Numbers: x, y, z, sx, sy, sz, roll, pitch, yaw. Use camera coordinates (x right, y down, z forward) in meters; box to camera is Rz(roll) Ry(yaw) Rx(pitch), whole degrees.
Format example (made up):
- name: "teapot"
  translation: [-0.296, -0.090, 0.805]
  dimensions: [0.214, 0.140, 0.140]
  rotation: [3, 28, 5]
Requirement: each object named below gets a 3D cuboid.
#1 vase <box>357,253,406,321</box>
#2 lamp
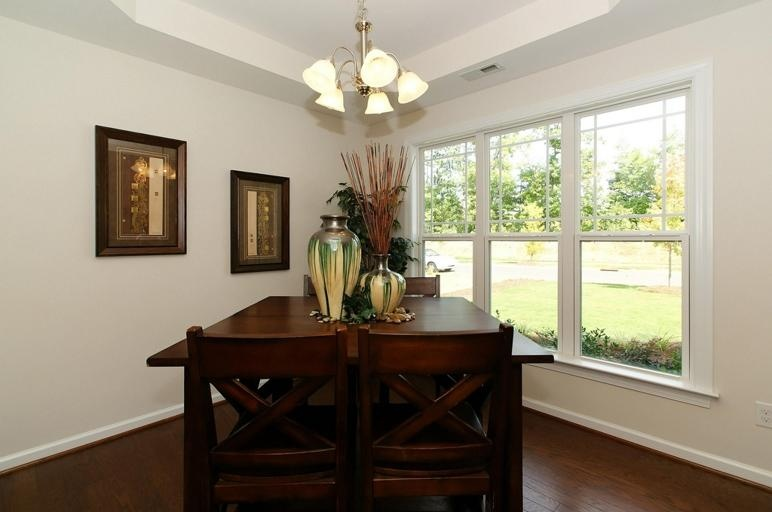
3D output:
- name: "vase"
  translation: [-0.015, 0.199, 3.631]
  dimensions: [0.400, 0.463, 0.396]
  rotation: [-1, 1, -14]
- name: "lamp"
  translation: [-0.168, -1.683, 4.359]
  dimensions: [0.720, 0.775, 0.751]
  rotation: [-17, -28, 35]
